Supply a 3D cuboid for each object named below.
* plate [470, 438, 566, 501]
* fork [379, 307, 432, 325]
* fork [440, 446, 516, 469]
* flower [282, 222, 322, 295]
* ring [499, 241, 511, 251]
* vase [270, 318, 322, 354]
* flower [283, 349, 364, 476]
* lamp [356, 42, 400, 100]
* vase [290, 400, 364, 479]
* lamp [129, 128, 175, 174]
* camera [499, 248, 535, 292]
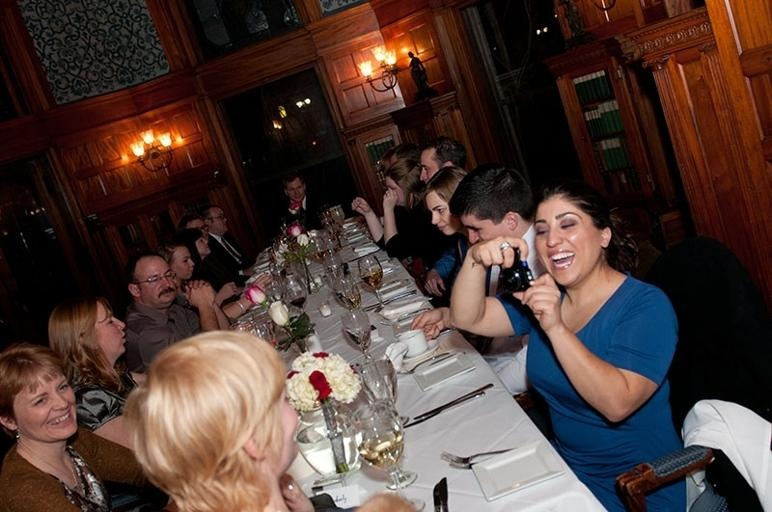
[{"bbox_3d":[0.430,0.685,1.662,0.202,0.024,0.149,-21,25,5],"label":"plate"},{"bbox_3d":[0.119,0.343,2.913,0.322,0.060,0.054,-9,1,-23],"label":"fork"},{"bbox_3d":[0.324,0.696,1.768,0.246,0.039,0.038,-9,39,21],"label":"fork"},{"bbox_3d":[-0.755,-0.009,4.585,0.256,0.632,0.259,-17,17,-11],"label":"flower"},{"bbox_3d":[0.497,-0.041,2.164,0.028,0.040,0.016,-3,-27,18],"label":"ring"},{"bbox_3d":[-0.476,0.430,2.708,0.186,0.228,0.206,-29,15,-18],"label":"vase"},{"bbox_3d":[-0.222,0.582,1.810,0.259,0.383,0.244,-6,-14,-3],"label":"flower"},{"bbox_3d":[-0.040,-2.969,8.123,0.640,0.651,0.340,-12,6,32],"label":"lamp"},{"bbox_3d":[-0.187,0.641,1.857,0.220,0.280,0.242,-16,-11,-8],"label":"vase"},{"bbox_3d":[-3.904,-1.755,8.496,0.579,0.580,0.289,-16,13,1],"label":"lamp"},{"bbox_3d":[0.535,0.049,2.139,0.144,0.148,0.158,-6,18,-2],"label":"camera"}]
